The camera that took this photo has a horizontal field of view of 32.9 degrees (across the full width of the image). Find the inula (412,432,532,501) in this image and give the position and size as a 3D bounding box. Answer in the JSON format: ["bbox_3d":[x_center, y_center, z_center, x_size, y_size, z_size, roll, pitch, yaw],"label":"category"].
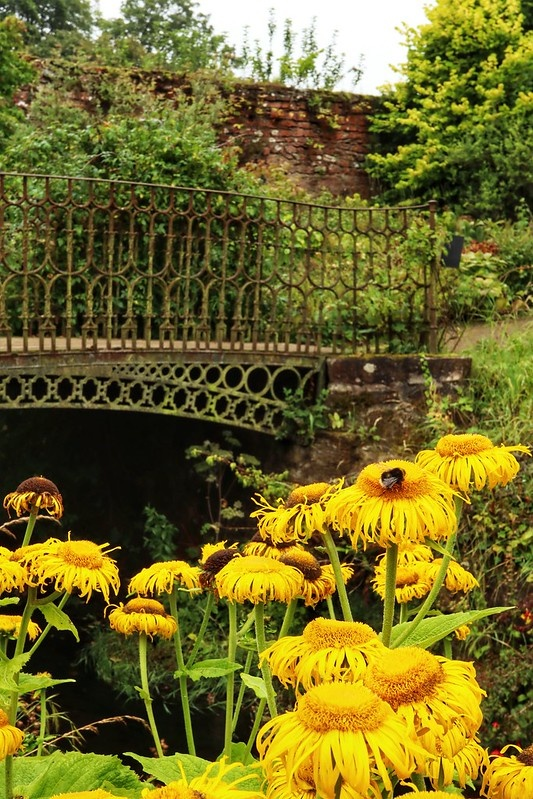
[{"bbox_3d":[0.379,0.111,1.678,0.168,0.076,0.162,0,13,36],"label":"inula"}]

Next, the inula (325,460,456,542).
[{"bbox_3d":[0.221,0.168,1.532,0.213,0.092,0.207,2,20,24],"label":"inula"}]

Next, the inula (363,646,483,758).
[{"bbox_3d":[0.239,0.472,1.350,0.173,0.080,0.167,19,27,28],"label":"inula"}]
